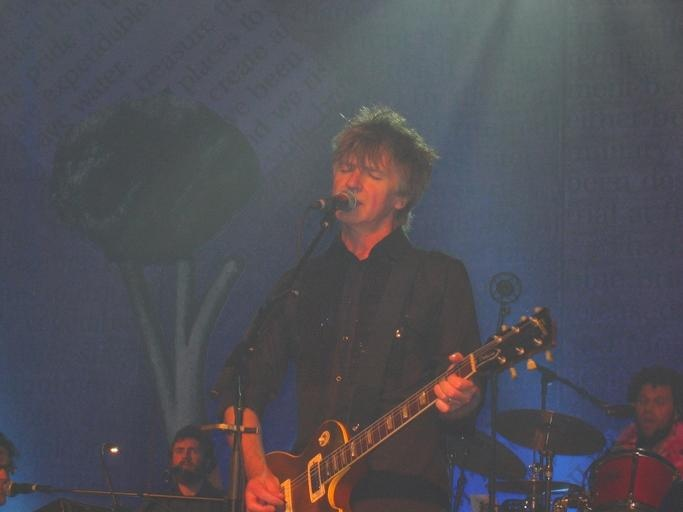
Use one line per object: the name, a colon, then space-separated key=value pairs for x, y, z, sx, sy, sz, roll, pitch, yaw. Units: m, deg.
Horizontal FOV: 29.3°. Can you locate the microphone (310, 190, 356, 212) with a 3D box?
microphone: x=-0.029 y=-0.303 z=7.201 sx=0.085 sy=0.079 sz=0.191 roll=-39 pitch=-16 yaw=23

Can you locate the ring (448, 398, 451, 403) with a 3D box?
ring: x=0.576 y=0.760 z=6.881 sx=0.019 sy=0.019 sz=0.004 roll=3 pitch=5 yaw=-24
